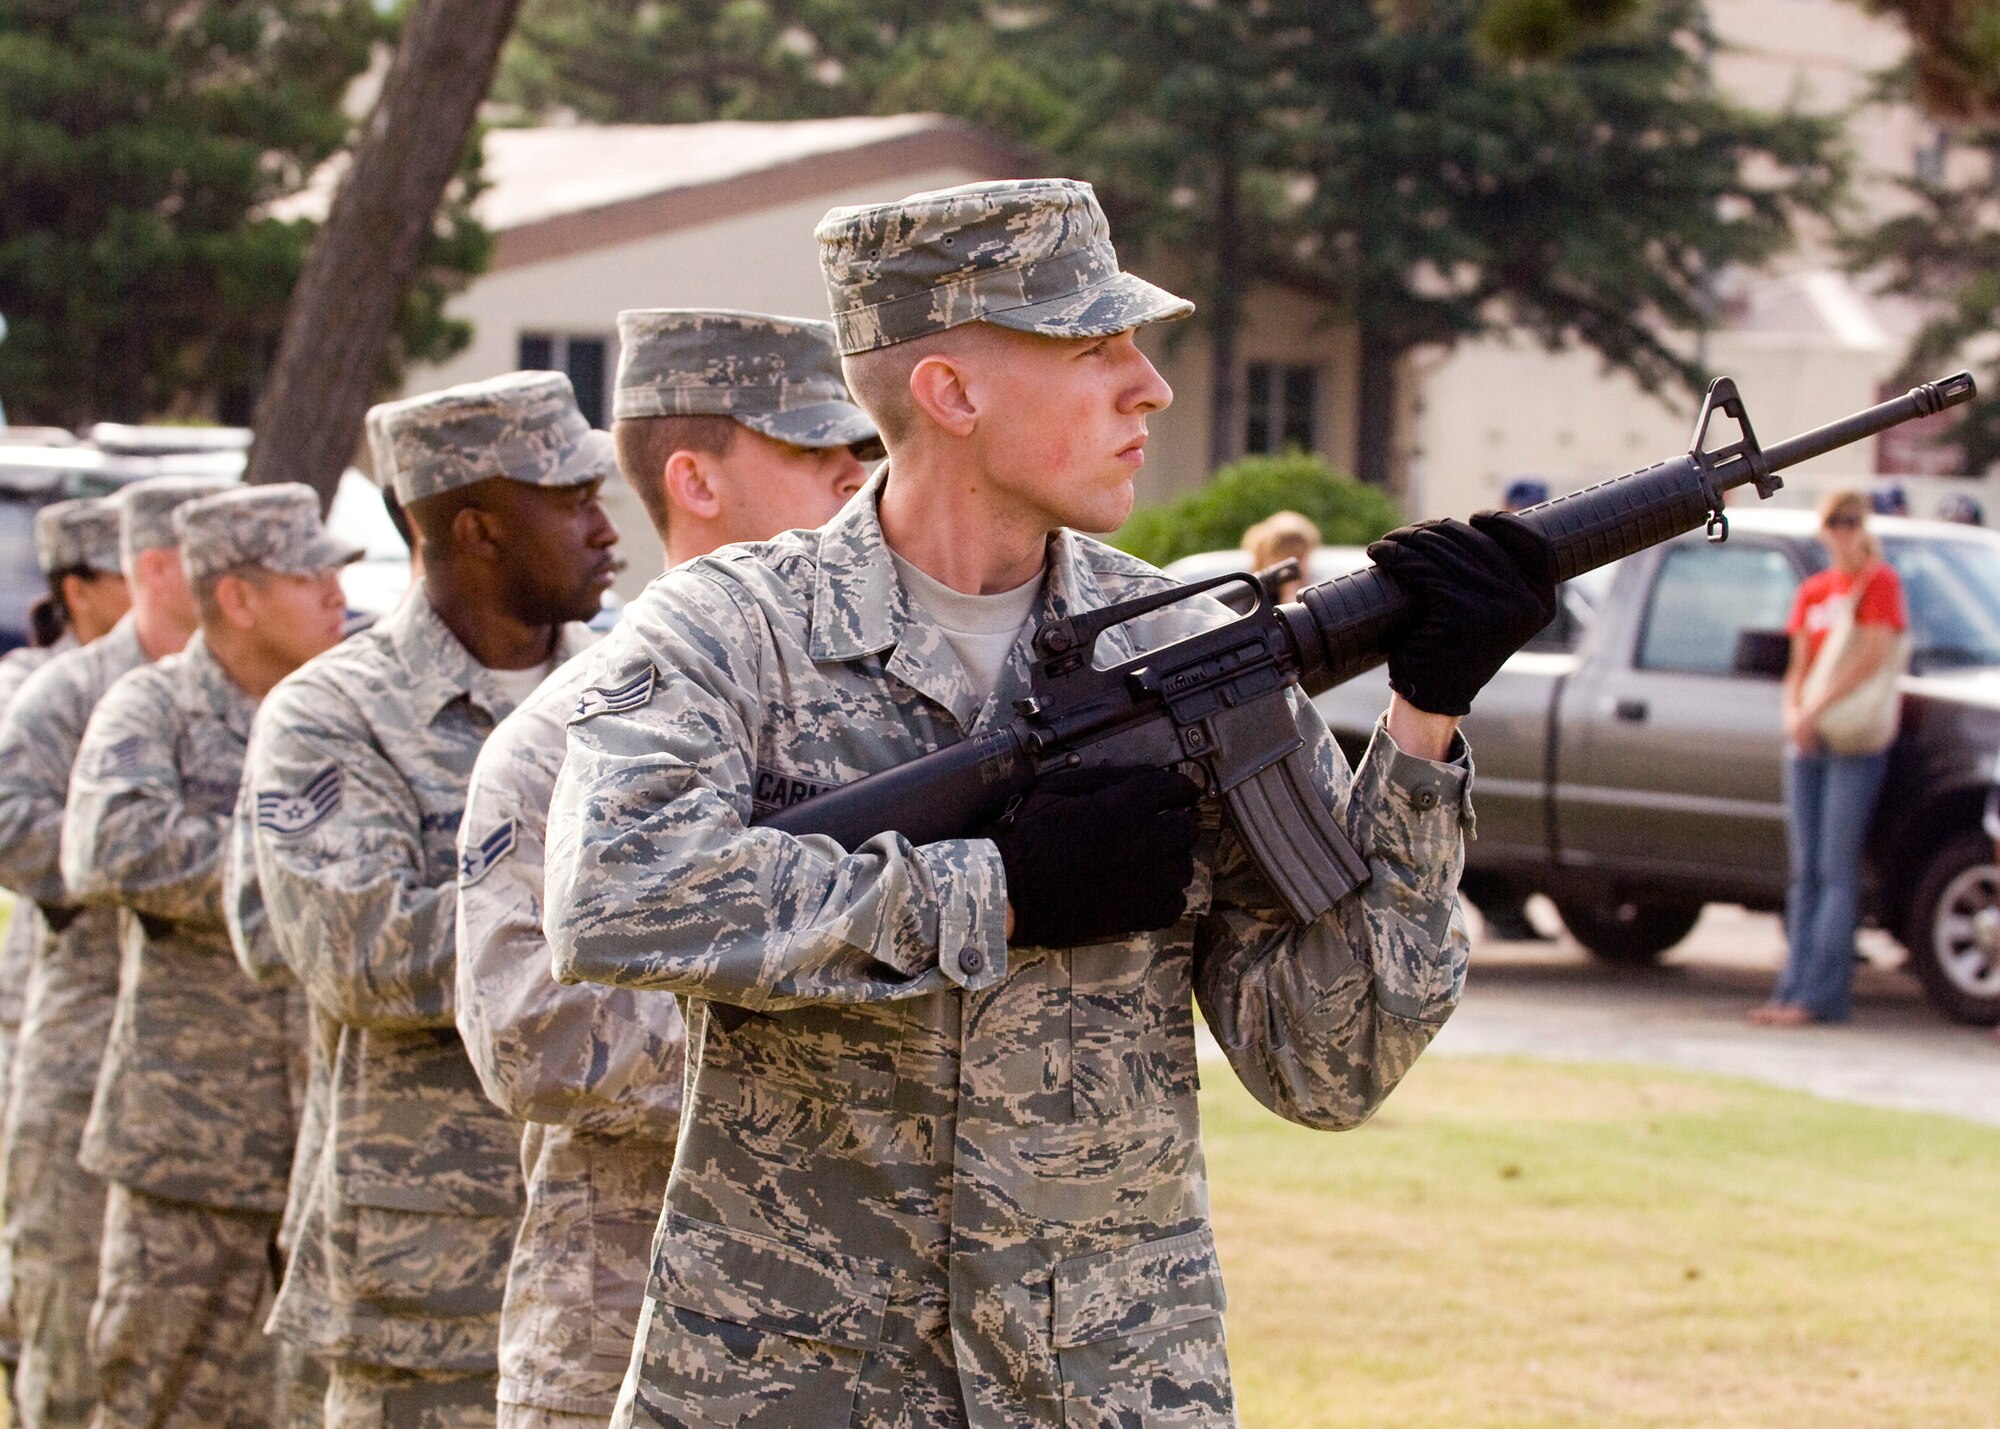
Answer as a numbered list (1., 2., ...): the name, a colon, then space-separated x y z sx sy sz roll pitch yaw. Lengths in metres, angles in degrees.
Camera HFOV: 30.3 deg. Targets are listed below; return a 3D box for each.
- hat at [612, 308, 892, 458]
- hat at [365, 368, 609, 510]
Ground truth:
1. hat: -0.602 -0.750 8.488 0.493 0.191 0.345 1 -1 3
2. hat: -1.206 -0.648 8.722 0.467 0.154 0.303 -4 6 3
